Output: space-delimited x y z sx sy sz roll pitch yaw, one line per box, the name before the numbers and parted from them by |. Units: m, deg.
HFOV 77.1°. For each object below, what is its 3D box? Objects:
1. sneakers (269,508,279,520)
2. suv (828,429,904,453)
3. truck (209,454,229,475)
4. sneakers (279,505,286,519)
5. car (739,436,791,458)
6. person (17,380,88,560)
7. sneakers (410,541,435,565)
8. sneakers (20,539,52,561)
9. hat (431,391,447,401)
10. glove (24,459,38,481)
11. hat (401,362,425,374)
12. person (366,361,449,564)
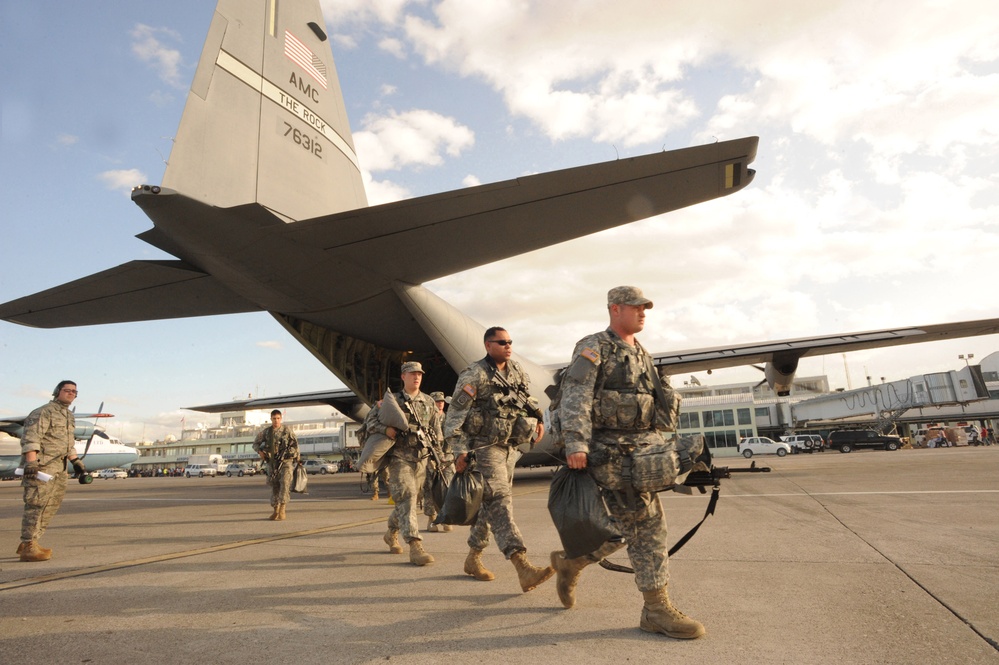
sneakers | -3.947 3.191 11.093 0.154 0.186 0.380 4 -9 -26
suv | 24.432 7.228 41.723 4.231 1.348 2.001 -8 -8 16
truck | -25.854 12.225 58.162 1.470 1.210 2.218 -1 5 -25
sneakers | -3.833 3.170 11.111 0.121 0.210 0.354 3 -9 -20
car | 17.234 7.337 40.202 3.316 1.156 1.541 -4 -6 3
person | -5.721 1.739 8.018 0.387 2.207 0.686 -6 -11 27
sneakers | -0.874 2.521 7.207 0.272 0.260 0.236 1 -9 -6
sneakers | -5.719 2.686 7.757 0.416 0.242 0.212 -2 -9 12
hat | -1.053 1.099 10.842 0.251 0.095 0.326 0 0 -12
glove | -5.793 1.699 7.764 0.207 0.237 0.079 6 -3 -6
hat | -1.166 0.443 8.173 0.213 0.077 0.283 3 -9 -29
person | -1.178 1.532 7.973 0.940 2.459 1.447 0 -9 -5
